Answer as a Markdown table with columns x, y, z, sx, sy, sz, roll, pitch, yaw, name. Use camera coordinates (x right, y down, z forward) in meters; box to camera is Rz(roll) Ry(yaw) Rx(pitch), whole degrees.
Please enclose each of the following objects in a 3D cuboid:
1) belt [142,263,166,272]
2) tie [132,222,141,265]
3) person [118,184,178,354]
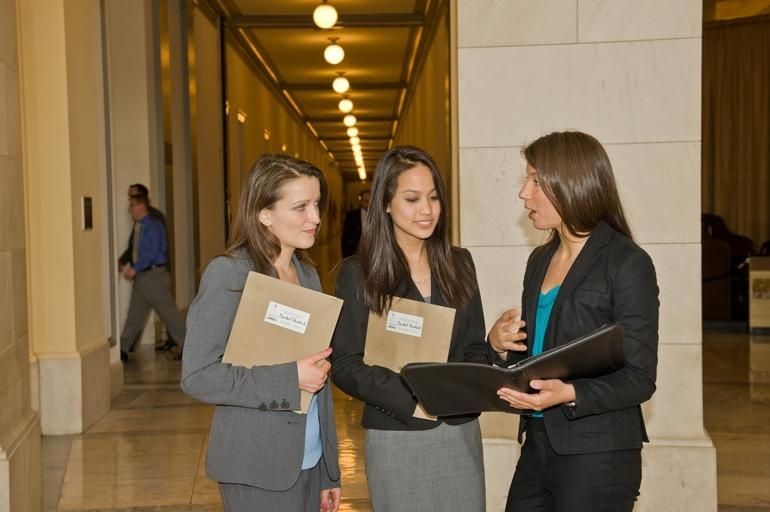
| x | y | z | sx | sy | sz | roll | pitch | yaw | name |
| --- | --- | --- | --- | --- | --- | --- | --- | --- | --- |
| -2.687 | 0.129 | 8.213 | 0.271 | 0.091 | 0.076 | -6 | 11 | -31 | belt |
| -3.018 | -0.175 | 8.506 | 0.080 | 0.679 | 0.134 | 4 | 36 | -15 | tie |
| -2.846 | 0.207 | 8.428 | 0.721 | 2.107 | 0.870 | -4 | 11 | -21 | person |
